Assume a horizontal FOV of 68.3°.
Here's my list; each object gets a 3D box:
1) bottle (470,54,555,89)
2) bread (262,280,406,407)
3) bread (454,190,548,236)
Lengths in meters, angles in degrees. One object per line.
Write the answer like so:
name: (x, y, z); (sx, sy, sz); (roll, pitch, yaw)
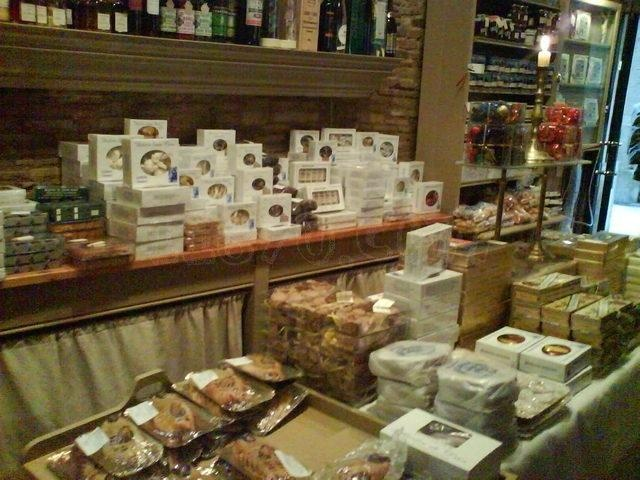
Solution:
bottle: (1.488, -1.374, 3.883); (0.676, 0.274, 0.181); (-11, 19, -28)
bread: (0.052, 0.304, 1.700); (0.526, 0.328, 0.353); (15, 17, 43)
bread: (1.402, -0.212, 3.671); (0.643, 0.193, 0.376); (-11, 20, -21)
